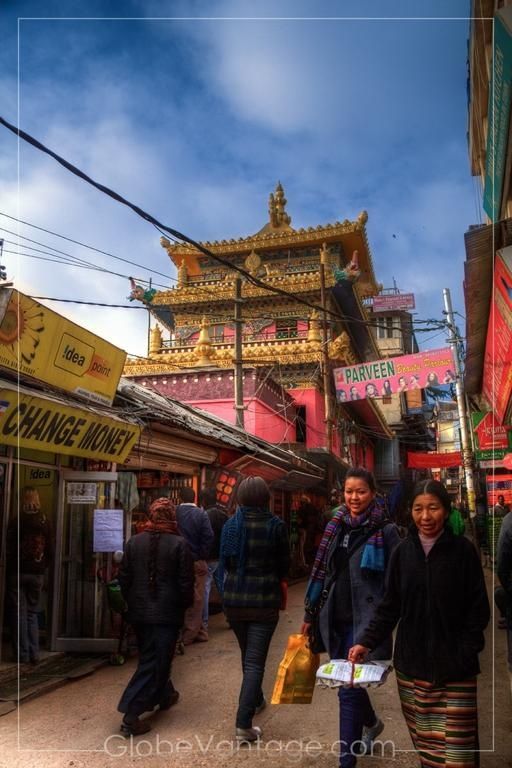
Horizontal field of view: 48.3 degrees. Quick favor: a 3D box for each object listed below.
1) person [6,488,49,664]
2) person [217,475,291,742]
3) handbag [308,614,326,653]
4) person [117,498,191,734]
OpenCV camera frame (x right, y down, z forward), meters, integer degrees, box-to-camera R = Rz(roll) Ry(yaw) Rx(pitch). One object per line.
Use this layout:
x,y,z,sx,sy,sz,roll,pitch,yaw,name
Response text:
-2.457,2.029,6.155,0.436,1.768,0.763,2,-12,-19,person
0.004,1.503,3.984,0.454,1.670,0.389,1,-12,-15,person
0.349,1.434,3.289,0.100,0.221,0.223,-1,-14,10,handbag
-0.737,1.648,4.227,0.528,1.547,0.505,1,-12,-16,person
